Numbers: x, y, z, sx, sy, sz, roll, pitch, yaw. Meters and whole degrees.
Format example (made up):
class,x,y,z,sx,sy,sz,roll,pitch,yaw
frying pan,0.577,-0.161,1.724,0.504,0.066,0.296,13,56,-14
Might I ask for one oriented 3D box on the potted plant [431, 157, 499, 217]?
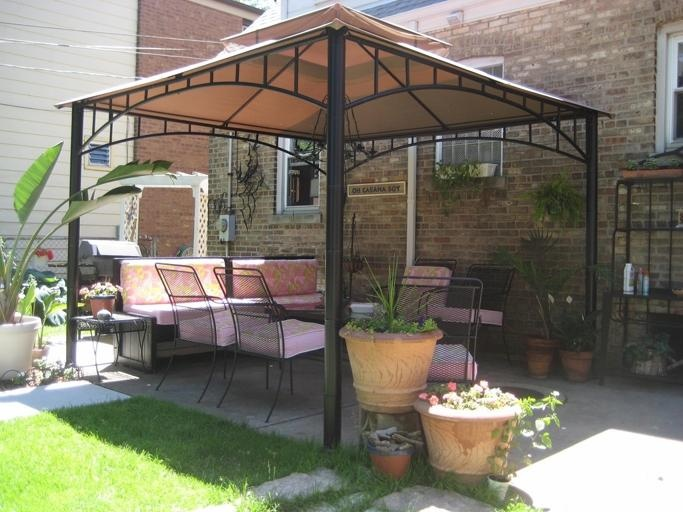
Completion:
class,x,y,z,sx,sy,sz,roll,pitch,yaw
potted plant,1.764,-0.947,8.961,0.797,0.452,0.791,3,-2,-22

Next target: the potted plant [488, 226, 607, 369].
class,x,y,z,sx,sy,sz,roll,pitch,yaw
potted plant,2.751,0.455,8.301,1.739,1.960,1.480,9,-14,-41

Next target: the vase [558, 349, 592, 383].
class,x,y,z,sx,sy,sz,roll,pitch,yaw
vase,2.869,1.344,7.508,0.359,0.319,0.348,1,-7,6

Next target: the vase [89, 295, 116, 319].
class,x,y,z,sx,sy,sz,roll,pitch,yaw
vase,-2.872,0.620,7.355,0.263,0.203,0.268,-1,-6,-4

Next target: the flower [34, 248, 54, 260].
class,x,y,z,sx,sy,sz,roll,pitch,yaw
flower,-5.813,-0.030,11.940,0.249,0.211,0.424,2,-2,-23

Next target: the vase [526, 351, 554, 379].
class,x,y,z,sx,sy,sz,roll,pitch,yaw
vase,2.508,1.366,7.637,0.308,0.288,0.314,1,-4,41

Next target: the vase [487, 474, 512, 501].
class,x,y,z,sx,sy,sz,roll,pitch,yaw
vase,1.121,1.649,4.394,0.151,0.169,0.164,-1,-2,-3

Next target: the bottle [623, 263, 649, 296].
class,x,y,z,sx,sy,sz,roll,pitch,yaw
bottle,3.493,0.291,7.247,0.325,0.460,0.174,-2,-7,32

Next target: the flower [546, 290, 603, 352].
class,x,y,z,sx,sy,sz,roll,pitch,yaw
flower,2.878,0.823,7.804,0.704,0.712,0.666,2,1,-13

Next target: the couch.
class,x,y,z,sx,sy,sz,roll,pitch,yaw
couch,-1.405,0.713,8.816,3.350,1.416,1.049,1,-1,-43

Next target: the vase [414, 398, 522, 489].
class,x,y,z,sx,sy,sz,roll,pitch,yaw
vase,0.997,1.446,4.744,0.717,0.550,0.761,-6,-6,39

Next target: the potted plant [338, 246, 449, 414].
class,x,y,z,sx,sy,sz,roll,pitch,yaw
potted plant,0.448,0.707,5.091,0.743,1.125,0.796,-7,-7,37

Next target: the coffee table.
class,x,y,z,sx,sy,sz,roll,pitch,yaw
coffee table,-2.864,0.988,7.600,0.932,0.897,0.911,-1,-5,14

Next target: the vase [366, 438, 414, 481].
class,x,y,z,sx,sy,sz,roll,pitch,yaw
vase,0.390,1.582,4.772,0.380,0.281,0.376,0,-2,-34
